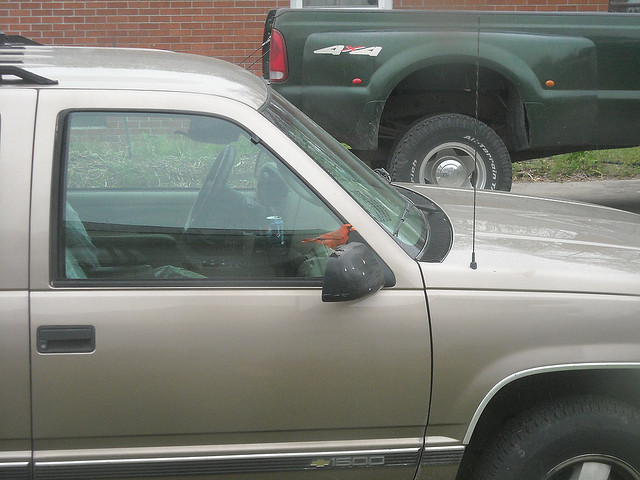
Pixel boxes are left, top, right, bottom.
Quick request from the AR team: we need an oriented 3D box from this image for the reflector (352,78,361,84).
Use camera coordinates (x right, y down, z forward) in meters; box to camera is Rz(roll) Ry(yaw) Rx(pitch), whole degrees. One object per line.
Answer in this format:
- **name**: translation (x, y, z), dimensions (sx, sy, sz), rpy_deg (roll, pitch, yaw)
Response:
- **reflector**: translation (0.309, -1.299, 7.124), dimensions (0.042, 0.049, 0.014), rpy_deg (4, 10, -2)

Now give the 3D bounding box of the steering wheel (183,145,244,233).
- **steering wheel**: translation (-0.468, -0.223, 3.874), dimensions (0.261, 0.246, 0.315), rpy_deg (-2, 2, -5)

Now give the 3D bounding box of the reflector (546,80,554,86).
- **reflector**: translation (1.896, -1.284, 7.122), dimensions (0.040, 0.045, 0.009), rpy_deg (-3, 27, -1)

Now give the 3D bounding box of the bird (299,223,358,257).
- **bird**: translation (0.051, -0.015, 3.666), dimensions (0.213, 0.143, 0.080), rpy_deg (5, 28, 15)
